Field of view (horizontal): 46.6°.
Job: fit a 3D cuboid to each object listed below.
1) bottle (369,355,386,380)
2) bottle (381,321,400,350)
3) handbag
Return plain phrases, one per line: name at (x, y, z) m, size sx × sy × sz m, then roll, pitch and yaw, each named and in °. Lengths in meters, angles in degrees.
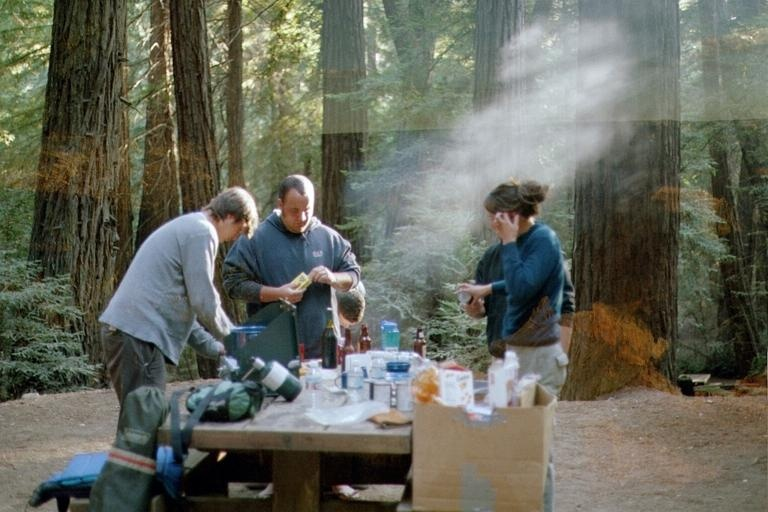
bottle at (-0.075, 1.344, 10.690) m, size 0.214 × 0.371 × 0.241 m, roll 2°, pitch -2°, yaw 2°
bottle at (0.079, 0.993, 11.099) m, size 0.193 × 0.369 × 0.196 m, roll -2°, pitch -3°, yaw 0°
handbag at (-1.966, 1.757, 10.314) m, size 0.907 × 0.364 × 0.947 m, roll 0°, pitch 30°, yaw 17°
